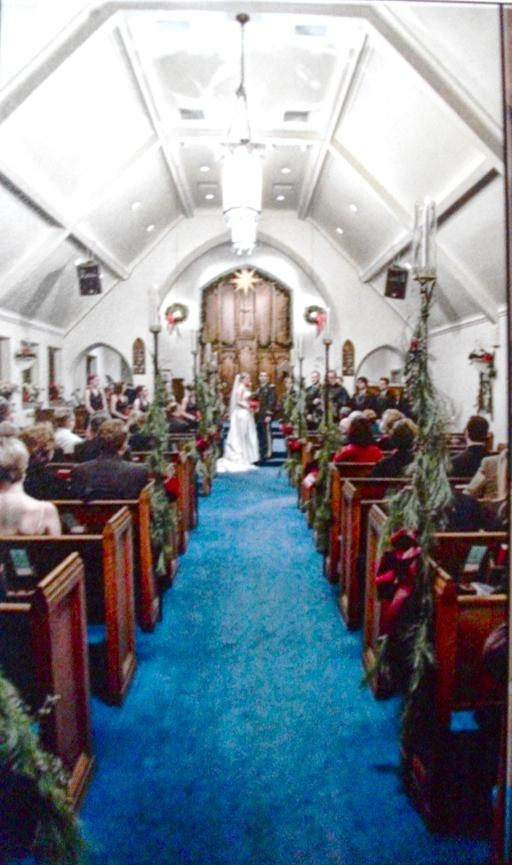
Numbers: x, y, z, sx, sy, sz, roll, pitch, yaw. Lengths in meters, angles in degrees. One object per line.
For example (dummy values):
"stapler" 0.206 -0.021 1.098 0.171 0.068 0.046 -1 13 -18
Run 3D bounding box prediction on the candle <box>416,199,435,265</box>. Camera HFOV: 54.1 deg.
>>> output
"candle" 0.731 -0.850 2.181 0.080 0.322 0.207 2 5 17

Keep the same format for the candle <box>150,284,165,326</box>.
"candle" -0.696 -0.867 3.468 0.066 0.310 0.330 0 5 -9
